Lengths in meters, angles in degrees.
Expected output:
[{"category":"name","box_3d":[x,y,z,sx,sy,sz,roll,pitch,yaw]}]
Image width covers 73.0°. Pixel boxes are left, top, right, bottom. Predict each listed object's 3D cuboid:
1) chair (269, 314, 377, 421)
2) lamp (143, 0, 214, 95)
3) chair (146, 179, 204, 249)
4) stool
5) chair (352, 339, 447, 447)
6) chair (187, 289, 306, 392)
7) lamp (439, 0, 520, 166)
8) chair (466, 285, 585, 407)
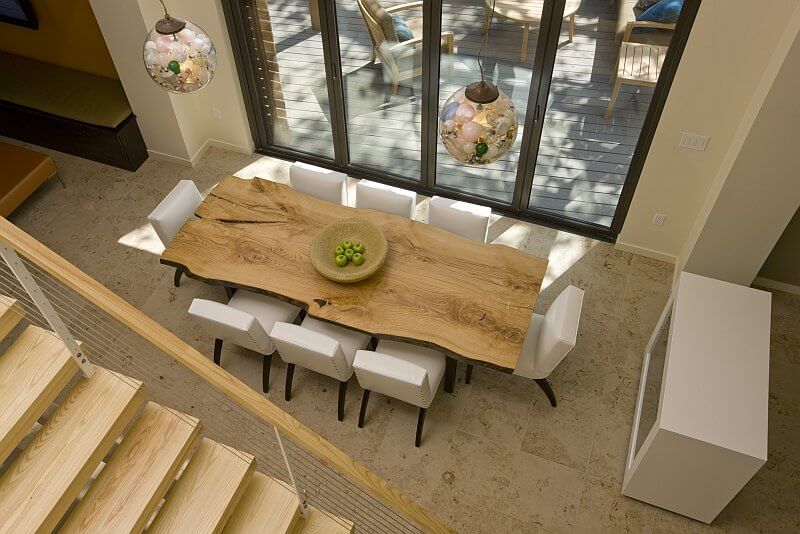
[{"category":"chair","box_3d":[-0.720,0.793,5.030,0.656,1.119,0.776,12,43,9]},{"category":"lamp","box_3d":[-1.690,-1.633,4.152,0.500,0.490,0.320,-15,46,-12]},{"category":"chair","box_3d":[-2.292,-0.509,5.503,0.407,0.715,0.398,32,58,-3]},{"category":"stool","box_3d":[2.192,-1.766,5.036,0.439,0.444,0.351,8,69,7]},{"category":"chair","box_3d":[0.009,1.011,4.903,0.654,1.138,0.774,14,43,14]},{"category":"chair","box_3d":[-1.417,0.560,5.122,0.735,1.081,0.847,5,44,0]},{"category":"lamp","box_3d":[0.543,-0.991,3.738,0.522,0.533,0.360,7,46,9]},{"category":"chair","box_3d":[1.107,0.659,5.037,0.918,1.246,0.830,4,52,7]}]
